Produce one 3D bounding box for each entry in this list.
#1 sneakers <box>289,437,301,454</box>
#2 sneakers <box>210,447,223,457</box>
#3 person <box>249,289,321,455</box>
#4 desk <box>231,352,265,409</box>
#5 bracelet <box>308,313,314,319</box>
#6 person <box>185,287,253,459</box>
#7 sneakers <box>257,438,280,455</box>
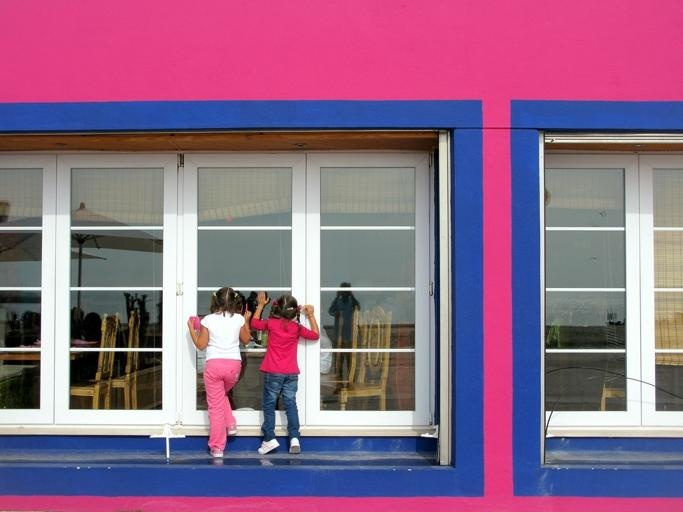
[{"bbox_3d":[-0.431,1.735,10.041,0.097,0.148,0.086,0,-5,-11],"label":"sneakers"},{"bbox_3d":[-1.143,1.794,10.059,0.139,0.083,0.143,-1,-5,3],"label":"sneakers"},{"bbox_3d":[-0.527,1.095,10.153,0.616,1.437,0.286,0,-5,-2],"label":"person"},{"bbox_3d":[-0.875,1.179,10.340,0.431,0.658,0.440,0,-8,-2],"label":"desk"},{"bbox_3d":[-0.296,0.562,10.267,0.045,0.062,0.035,3,5,26],"label":"bracelet"},{"bbox_3d":[-1.123,1.075,10.168,0.574,1.532,0.307,0,-5,-8],"label":"person"},{"bbox_3d":[-0.670,1.740,10.090,0.182,0.144,0.114,0,-5,-3],"label":"sneakers"}]
